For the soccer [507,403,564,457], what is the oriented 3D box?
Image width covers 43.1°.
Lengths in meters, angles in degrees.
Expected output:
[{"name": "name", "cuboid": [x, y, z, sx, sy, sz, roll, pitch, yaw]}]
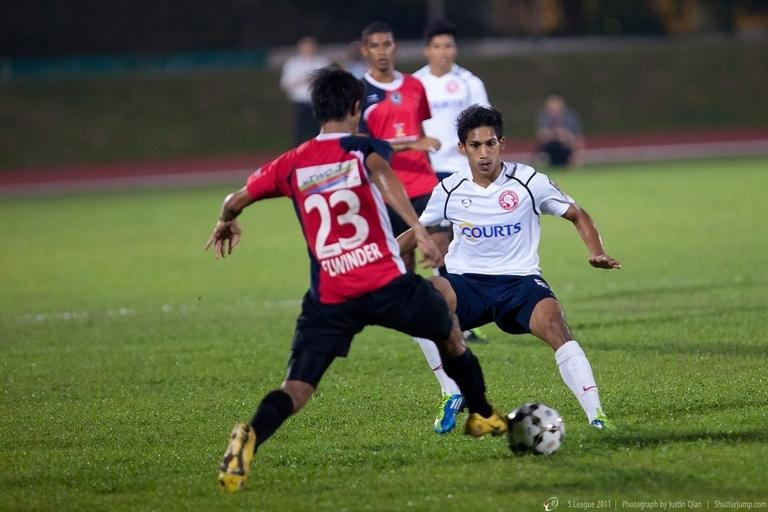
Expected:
[{"name": "soccer", "cuboid": [1.248, 1.512, 8.448, 0.502, 0.403, 0.440, -4, -13, -11]}]

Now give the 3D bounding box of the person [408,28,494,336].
[{"name": "person", "cuboid": [0.754, -1.009, 10.967, 1.104, 3.159, 1.008, -12, 18, -14]}]

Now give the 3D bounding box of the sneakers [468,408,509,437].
[{"name": "sneakers", "cuboid": [0.888, 1.467, 8.469, 0.436, 0.170, 0.148, -3, 5, -6]}]

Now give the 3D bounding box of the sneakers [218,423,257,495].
[{"name": "sneakers", "cuboid": [-1.153, 1.630, 7.954, 0.242, 0.579, 0.269, 19, -15, 1]}]

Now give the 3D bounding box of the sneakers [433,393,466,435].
[{"name": "sneakers", "cuboid": [0.577, 1.421, 8.772, 0.163, 0.198, 0.444, 6, 45, 38]}]
